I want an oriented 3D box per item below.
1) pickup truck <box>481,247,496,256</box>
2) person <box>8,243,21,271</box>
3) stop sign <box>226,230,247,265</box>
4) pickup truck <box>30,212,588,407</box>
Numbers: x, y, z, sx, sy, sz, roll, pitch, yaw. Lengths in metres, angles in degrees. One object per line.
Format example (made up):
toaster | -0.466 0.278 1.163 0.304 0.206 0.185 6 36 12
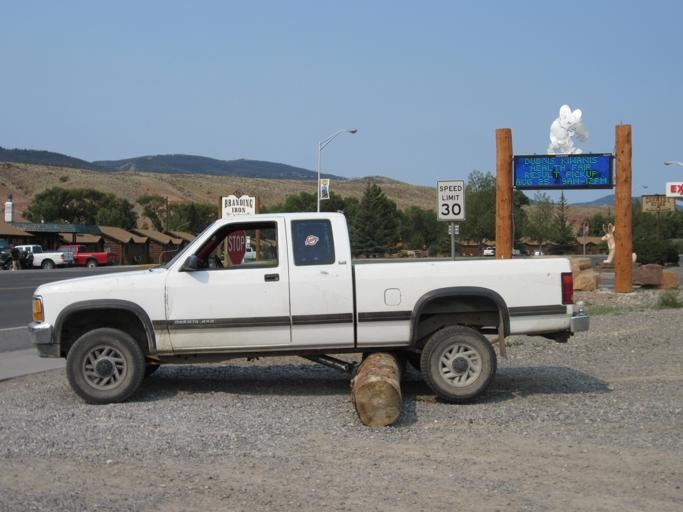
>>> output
pickup truck | 19.167 -0.563 97.532 1.426 1.132 2.440 2 5 18
person | -21.515 0.144 49.594 0.581 1.407 2.083 -2 7 -24
stop sign | -1.520 -0.131 10.806 0.075 0.586 0.449 2 3 42
pickup truck | -0.480 0.730 11.037 7.067 2.593 3.044 1 -3 -1
